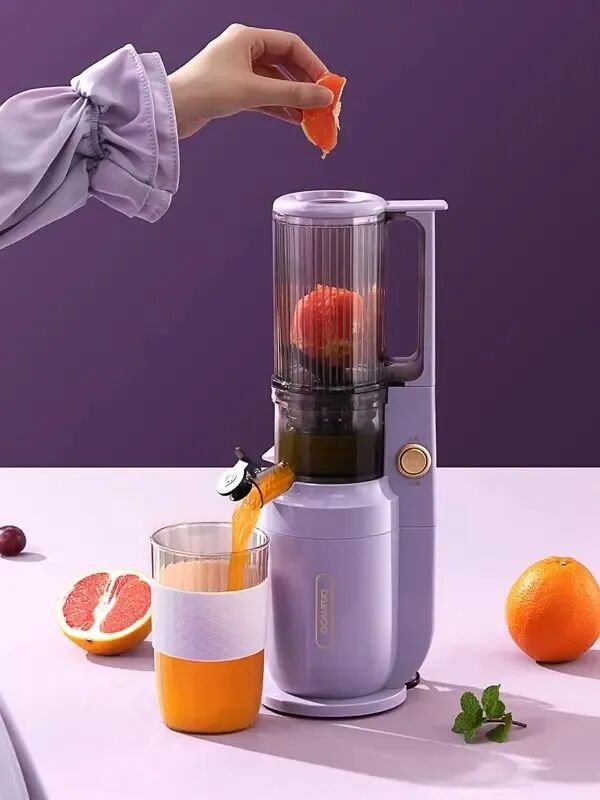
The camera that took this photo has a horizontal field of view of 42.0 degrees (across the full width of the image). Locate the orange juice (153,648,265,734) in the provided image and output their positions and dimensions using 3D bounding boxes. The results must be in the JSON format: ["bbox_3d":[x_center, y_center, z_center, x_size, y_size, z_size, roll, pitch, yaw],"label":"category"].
[{"bbox_3d":[-0.067,0.219,0.582,0.074,0.066,0.069,0,-4,0],"label":"orange juice"}]

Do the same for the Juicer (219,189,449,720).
[{"bbox_3d":[0.027,0.033,0.695,0.181,0.442,0.181,-4,18,-14],"label":"Juicer"}]
